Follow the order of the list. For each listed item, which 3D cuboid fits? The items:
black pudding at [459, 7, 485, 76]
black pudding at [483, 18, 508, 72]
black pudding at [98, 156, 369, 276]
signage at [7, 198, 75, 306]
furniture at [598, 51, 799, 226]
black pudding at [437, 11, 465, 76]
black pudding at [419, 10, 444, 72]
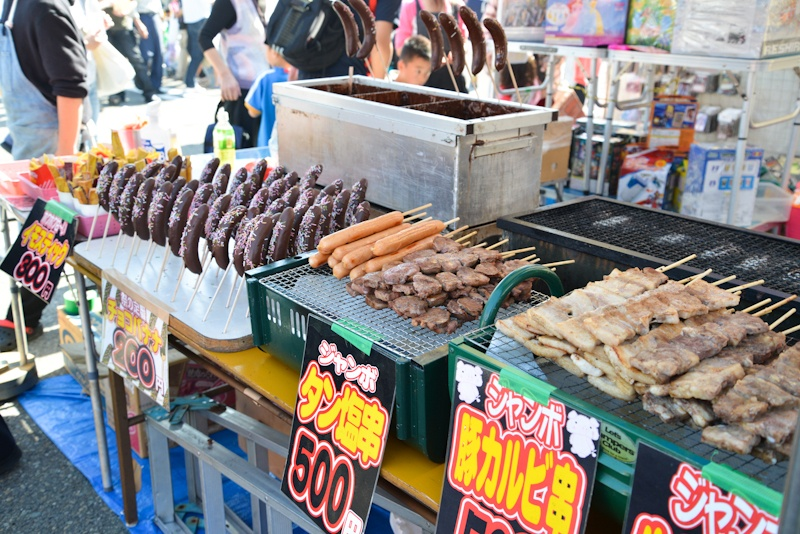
[{"bbox_3d":[0.361,-1.127,3.003,0.141,0.322,0.238,4,17,8],"label":"black pudding"},{"bbox_3d":[0.474,-1.101,2.989,0.129,0.243,0.279,4,17,8],"label":"black pudding"},{"bbox_3d":[-0.786,-0.256,2.892,1.372,0.442,0.654,14,21,35],"label":"black pudding"},{"bbox_3d":[-2.030,-0.085,3.377,0.511,0.521,0.055,38,15,27],"label":"signage"},{"bbox_3d":[2.511,-1.003,5.271,1.566,1.592,1.570,-15,25,-37],"label":"furniture"},{"bbox_3d":[0.258,-1.118,3.032,0.111,0.322,0.076,-10,37,11],"label":"black pudding"},{"bbox_3d":[0.163,-1.152,3.088,0.107,0.310,0.071,-6,39,12],"label":"black pudding"}]
